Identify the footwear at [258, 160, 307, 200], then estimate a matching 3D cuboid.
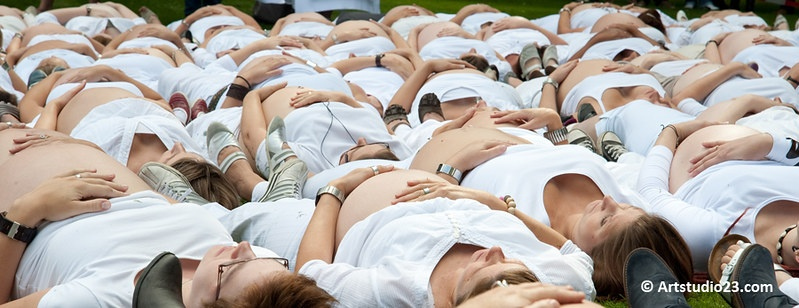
[{"bbox_3d":[-2.118,0.497,14.682,0.508,1.141,0.404,3,-51,43],"label":"footwear"}]
